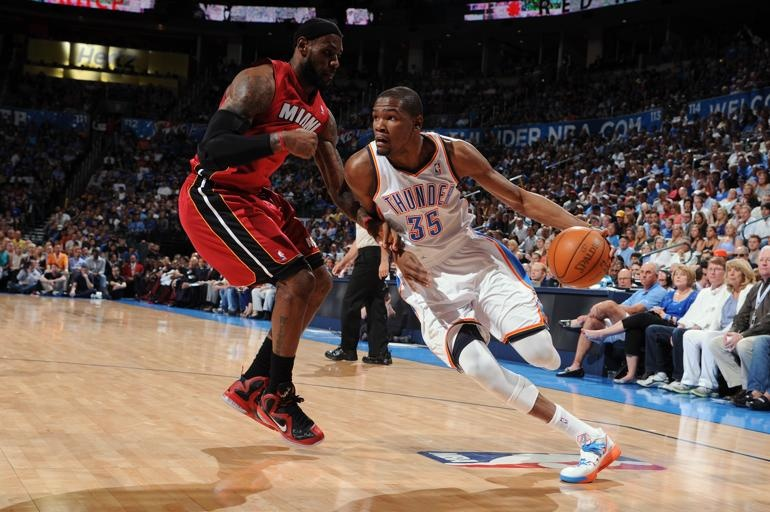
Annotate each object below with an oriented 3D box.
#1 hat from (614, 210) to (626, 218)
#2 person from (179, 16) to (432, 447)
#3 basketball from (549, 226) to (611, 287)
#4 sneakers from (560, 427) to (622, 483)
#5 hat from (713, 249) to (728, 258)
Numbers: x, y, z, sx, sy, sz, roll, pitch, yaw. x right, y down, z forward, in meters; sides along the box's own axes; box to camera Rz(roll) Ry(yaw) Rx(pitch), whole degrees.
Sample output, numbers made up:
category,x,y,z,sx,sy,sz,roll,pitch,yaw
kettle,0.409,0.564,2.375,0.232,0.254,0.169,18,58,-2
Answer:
category,x,y,z,sx,sy,sz,roll,pitch,yaw
hat,4.765,-0.859,12.794,0.153,0.107,0.215,-4,-1,29
person,-0.772,-0.222,4.291,1.149,2.971,0.905,3,3,-22
basketball,1.261,-0.026,4.351,0.435,0.425,0.404,4,6,-21
sneakers,1.381,1.293,4.252,0.542,0.251,0.195,-24,4,-39
hat,4.744,-0.045,8.937,0.148,0.100,0.206,1,5,10
